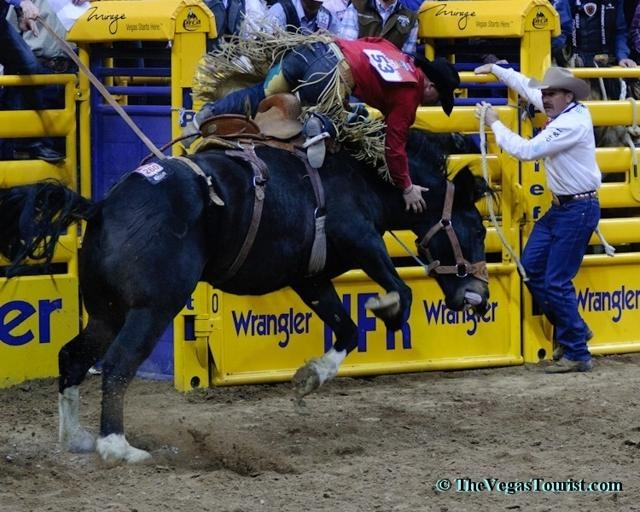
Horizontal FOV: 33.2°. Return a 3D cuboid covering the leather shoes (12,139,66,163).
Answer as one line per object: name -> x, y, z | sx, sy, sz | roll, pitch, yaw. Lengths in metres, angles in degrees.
leather shoes -> -2.025, -0.747, 7.624 | 0.497, 0.174, 0.159 | 0, 0, 7

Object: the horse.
horse -> -0.402, 0.162, 6.367 | 2.742, 1.751, 0.627 | -5, 12, -26

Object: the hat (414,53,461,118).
hat -> 0.744, -1.048, 6.618 | 0.311, 0.369, 0.178 | -7, 13, -35

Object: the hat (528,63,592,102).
hat -> 1.718, -1.215, 7.592 | 0.297, 0.104, 0.274 | 22, -23, -29

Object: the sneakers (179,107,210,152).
sneakers -> -0.726, -0.752, 6.500 | 0.097, 0.255, 0.169 | 42, 4, -39

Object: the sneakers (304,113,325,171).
sneakers -> -0.042, -0.667, 6.262 | 0.118, 0.296, 0.112 | -2, 19, 5

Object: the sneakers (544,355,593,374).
sneakers -> 1.802, 0.798, 7.910 | 0.358, 0.143, 0.124 | 0, 0, -2
